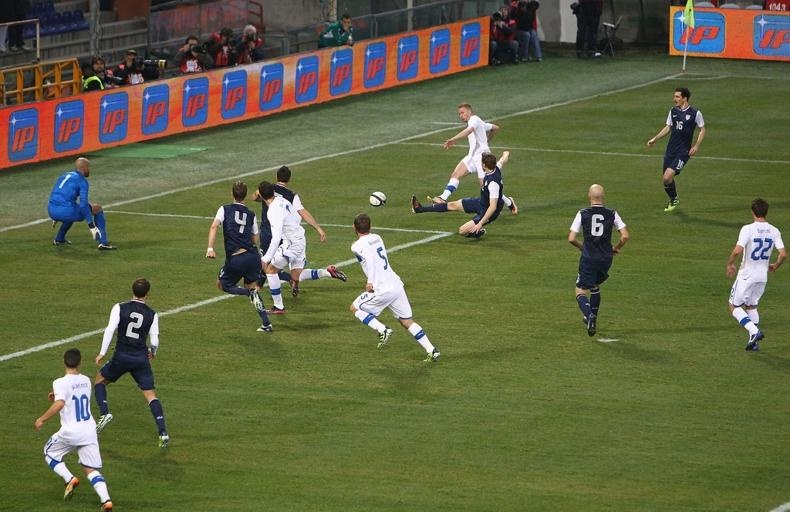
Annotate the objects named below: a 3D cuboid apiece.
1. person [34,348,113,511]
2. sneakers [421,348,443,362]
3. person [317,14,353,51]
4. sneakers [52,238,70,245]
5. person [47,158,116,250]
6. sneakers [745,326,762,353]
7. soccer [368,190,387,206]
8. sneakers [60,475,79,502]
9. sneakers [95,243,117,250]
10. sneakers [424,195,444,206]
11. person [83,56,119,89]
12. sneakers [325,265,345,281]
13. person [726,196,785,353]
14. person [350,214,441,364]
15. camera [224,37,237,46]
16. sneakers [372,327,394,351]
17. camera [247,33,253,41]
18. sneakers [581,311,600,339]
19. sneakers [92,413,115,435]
[{"bbox_3d":[-5.004,2.710,22.784,1.140,2.466,0.829,-2,12,8],"label":"person"},{"bbox_3d":[0.691,1.828,26.279,0.393,0.185,0.141,-35,17,52],"label":"sneakers"},{"bbox_3d":[-1.665,-6.728,45.025,1.000,1.505,0.705,-14,43,-23],"label":"person"},{"bbox_3d":[-7.243,-0.302,31.676,0.363,0.095,0.138,-3,0,-27],"label":"sneakers"},{"bbox_3d":[-6.857,-1.125,31.448,1.167,1.948,1.283,-9,12,-22],"label":"person"},{"bbox_3d":[6.602,1.538,26.485,0.216,0.471,0.248,19,24,-17],"label":"sneakers"},{"bbox_3d":[-0.383,-1.295,32.876,0.429,0.331,0.412,6,0,-39],"label":"soccer"},{"bbox_3d":[-5.066,3.635,22.903,0.238,0.449,0.177,33,26,2],"label":"sneakers"},{"bbox_3d":[-6.179,-0.193,31.313,0.467,0.133,0.130,0,10,1],"label":"sneakers"},{"bbox_3d":[0.980,-1.258,33.292,0.509,0.184,0.157,12,-15,-1],"label":"sneakers"},{"bbox_3d":[-7.965,-4.862,39.061,0.773,0.876,1.502,-2,10,8],"label":"person"},{"bbox_3d":[-1.127,0.344,28.418,0.496,0.193,0.207,34,8,-8],"label":"sneakers"},{"bbox_3d":[6.557,0.373,26.413,1.029,2.756,0.663,-4,12,1],"label":"person"},{"bbox_3d":[-0.125,0.564,26.350,1.362,2.697,1.126,-4,12,-2],"label":"person"},{"bbox_3d":[-4.910,-6.418,43.715,0.340,0.193,0.286,6,5,-31],"label":"camera"},{"bbox_3d":[-0.192,1.501,26.364,0.275,0.496,0.169,15,53,-12],"label":"sneakers"},{"bbox_3d":[-4.283,-6.481,43.376,0.226,0.159,0.330,4,13,-7],"label":"camera"},{"bbox_3d":[3.661,1.272,26.901,0.233,0.454,0.260,-5,-2,-8],"label":"sneakers"},{"bbox_3d":[-4.831,2.776,24.203,0.499,0.222,0.184,-38,-3,27],"label":"sneakers"}]
